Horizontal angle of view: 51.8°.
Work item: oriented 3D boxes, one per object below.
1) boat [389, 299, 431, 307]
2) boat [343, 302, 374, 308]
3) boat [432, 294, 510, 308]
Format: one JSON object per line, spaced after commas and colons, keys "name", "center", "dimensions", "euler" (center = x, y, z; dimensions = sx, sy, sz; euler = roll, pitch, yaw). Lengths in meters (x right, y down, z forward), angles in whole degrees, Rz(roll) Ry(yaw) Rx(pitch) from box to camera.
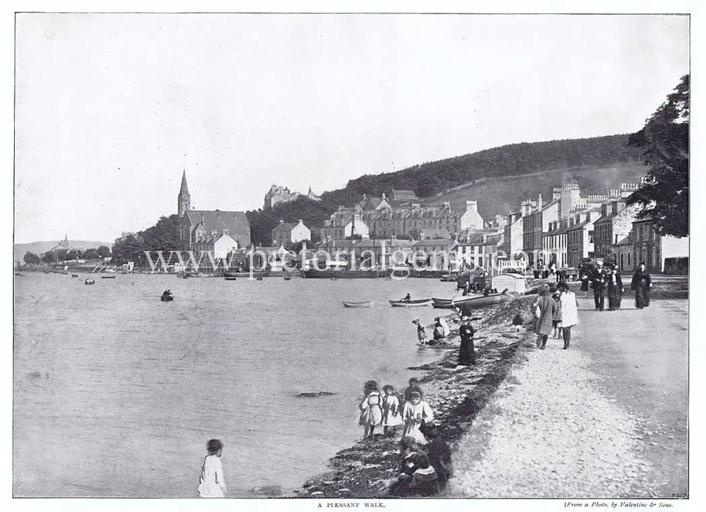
{"name": "boat", "center": [2.517, 2.129, 32.480], "dimensions": [1.824, 0.387, 0.615], "euler": [-2, -2, 13]}
{"name": "boat", "center": [0.253, 2.289, 34.614], "dimensions": [1.430, 0.168, 1.397], "euler": [-3, 6, -3]}
{"name": "boat", "center": [4.305, 1.856, 27.837], "dimensions": [0.770, 0.492, 3.211], "euler": [-7, 2, -36]}
